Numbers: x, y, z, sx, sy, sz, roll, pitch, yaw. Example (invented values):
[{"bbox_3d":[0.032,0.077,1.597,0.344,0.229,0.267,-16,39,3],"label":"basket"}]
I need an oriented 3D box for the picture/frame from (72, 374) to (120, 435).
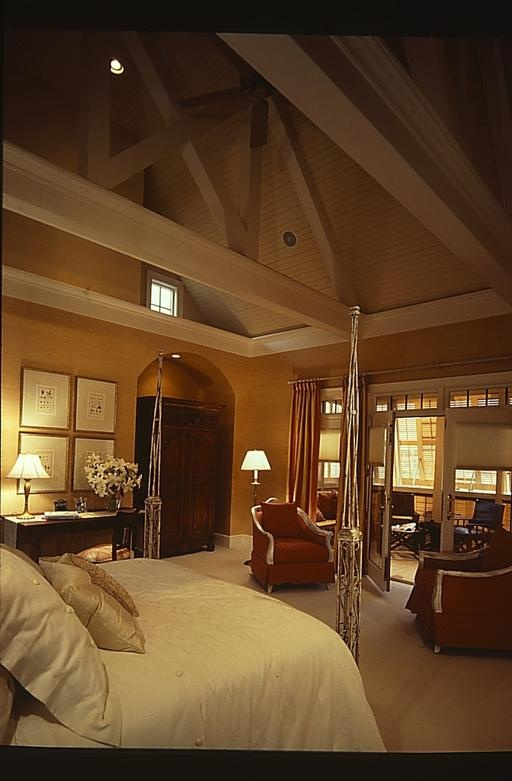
[{"bbox_3d":[-1.745,0.150,5.584,0.054,0.780,0.604,-1,-2,40],"label":"picture/frame"}]

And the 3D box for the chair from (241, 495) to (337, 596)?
[{"bbox_3d":[0.325,1.634,5.524,0.683,0.899,0.940,5,-13,-16],"label":"chair"}]

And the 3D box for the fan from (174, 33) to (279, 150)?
[{"bbox_3d":[-0.205,-2.327,4.250,0.678,1.350,0.375,-32,43,-27],"label":"fan"}]

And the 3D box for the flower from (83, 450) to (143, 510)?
[{"bbox_3d":[-1.564,0.908,5.468,0.536,0.603,0.549,-6,-8,41],"label":"flower"}]

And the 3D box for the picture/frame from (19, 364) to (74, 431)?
[{"bbox_3d":[-2.090,0.068,5.106,0.053,0.737,0.592,-3,-5,41],"label":"picture/frame"}]

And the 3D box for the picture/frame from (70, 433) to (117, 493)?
[{"bbox_3d":[-1.710,0.768,5.384,0.043,0.673,0.507,-13,-17,41],"label":"picture/frame"}]

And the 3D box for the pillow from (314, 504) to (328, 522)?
[{"bbox_3d":[0.831,1.601,6.701,0.147,0.184,0.200,0,-8,-5],"label":"pillow"}]

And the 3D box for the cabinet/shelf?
[{"bbox_3d":[-0.961,1.115,6.702,0.479,1.987,1.272,-3,-7,43],"label":"cabinet/shelf"}]

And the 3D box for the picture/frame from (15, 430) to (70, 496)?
[{"bbox_3d":[-2.061,0.696,4.959,0.044,0.741,0.585,-7,-8,34],"label":"picture/frame"}]

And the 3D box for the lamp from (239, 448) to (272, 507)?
[{"bbox_3d":[-0.010,1.200,6.657,0.365,0.831,0.384,-1,-8,10],"label":"lamp"}]
